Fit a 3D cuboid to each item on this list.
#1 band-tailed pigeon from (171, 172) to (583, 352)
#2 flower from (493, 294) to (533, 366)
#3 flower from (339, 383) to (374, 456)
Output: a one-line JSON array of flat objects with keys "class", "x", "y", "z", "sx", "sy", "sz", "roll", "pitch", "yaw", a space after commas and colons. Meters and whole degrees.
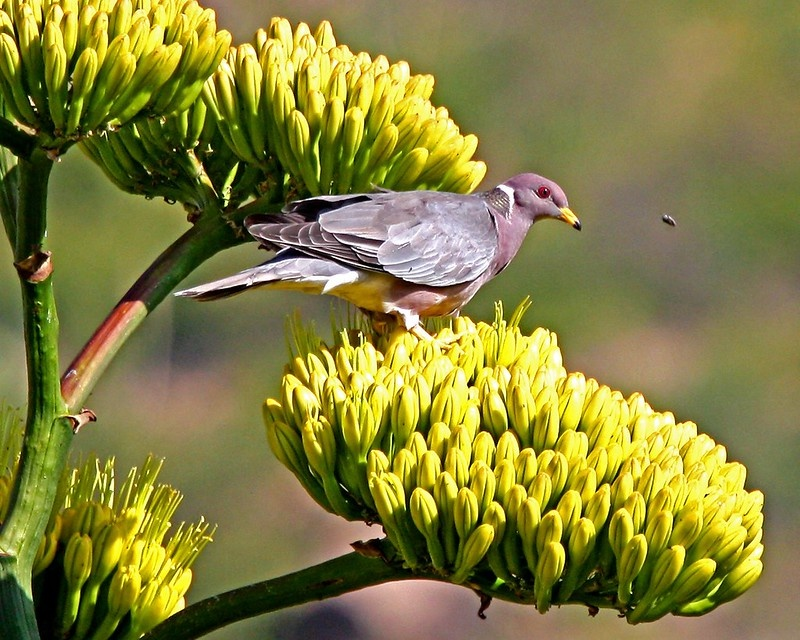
[{"class": "band-tailed pigeon", "x": -0.025, "y": -0.172, "z": 3.029, "sx": 0.953, "sy": 0.436, "sz": 0.282, "roll": 5, "pitch": -1, "yaw": -20}, {"class": "flower", "x": 0.254, "y": 0.027, "z": 3.011, "sx": 0.091, "sy": 0.063, "sz": 0.176, "roll": 19, "pitch": 45, "yaw": -11}, {"class": "flower", "x": -0.086, "y": 0.205, "z": 2.505, "sx": 0.069, "sy": 0.117, "sz": 0.054, "roll": 18, "pitch": 17, "yaw": 16}]
